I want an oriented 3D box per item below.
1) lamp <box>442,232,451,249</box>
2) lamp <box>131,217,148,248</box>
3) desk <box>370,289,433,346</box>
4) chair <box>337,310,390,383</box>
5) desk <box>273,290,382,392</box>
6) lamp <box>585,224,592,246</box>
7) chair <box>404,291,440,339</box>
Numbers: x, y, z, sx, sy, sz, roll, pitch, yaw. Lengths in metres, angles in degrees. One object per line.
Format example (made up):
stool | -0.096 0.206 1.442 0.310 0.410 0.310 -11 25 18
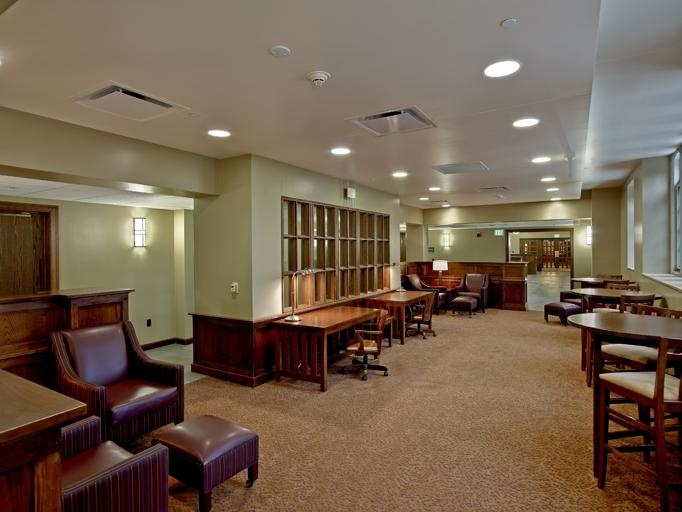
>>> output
lamp | 3.368 -0.505 14.873 0.350 0.579 0.233 1 9 12
lamp | -3.270 -0.397 7.704 0.087 0.494 0.240 7 12 40
desk | 1.039 0.956 7.978 0.558 0.591 1.159 3 6 27
chair | 0.323 1.066 5.956 0.599 0.793 0.659 2 -1 10
desk | -0.170 1.108 6.076 0.685 0.741 1.458 3 4 25
lamp | 5.771 -0.531 10.985 0.137 0.569 0.582 0 4 28
chair | 1.425 1.011 8.301 0.648 0.986 0.770 1 -3 16
